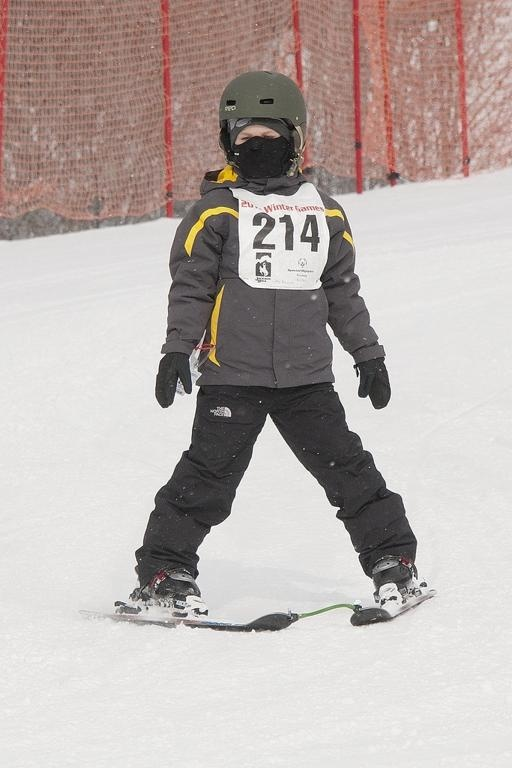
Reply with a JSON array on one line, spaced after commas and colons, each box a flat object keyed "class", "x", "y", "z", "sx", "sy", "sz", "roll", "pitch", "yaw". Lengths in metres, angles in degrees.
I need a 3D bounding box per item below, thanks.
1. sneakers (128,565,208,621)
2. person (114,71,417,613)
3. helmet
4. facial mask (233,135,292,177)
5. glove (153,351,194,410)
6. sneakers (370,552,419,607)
[{"class": "sneakers", "x": -0.238, "y": 0.562, "z": 2.288, "sx": 0.135, "sy": 0.083, "sz": 0.265, "roll": -16, "pitch": 14, "yaw": -31}, {"class": "person", "x": 0.069, "y": -0.079, "z": 2.498, "sx": 0.676, "sy": 1.510, "sz": 0.785, "roll": -1, "pitch": 9, "yaw": -1}, {"class": "helmet", "x": 0.032, "y": -0.777, "z": 2.600, "sx": 0.255, "sy": 0.294, "sz": 0.328, "roll": 0, "pitch": -7, "yaw": 8}, {"class": "facial mask", "x": 0.020, "y": -0.638, "z": 2.406, "sx": 0.113, "sy": 0.095, "sz": 0.138, "roll": -1, "pitch": 1, "yaw": 3}, {"class": "glove", "x": -0.215, "y": -0.012, "z": 2.227, "sx": 0.094, "sy": 0.142, "sz": 0.069, "roll": -2, "pitch": 2, "yaw": -6}, {"class": "sneakers", "x": 0.373, "y": 0.521, "z": 2.278, "sx": 0.107, "sy": 0.117, "sz": 0.138, "roll": -21, "pitch": -16, "yaw": 10}]
